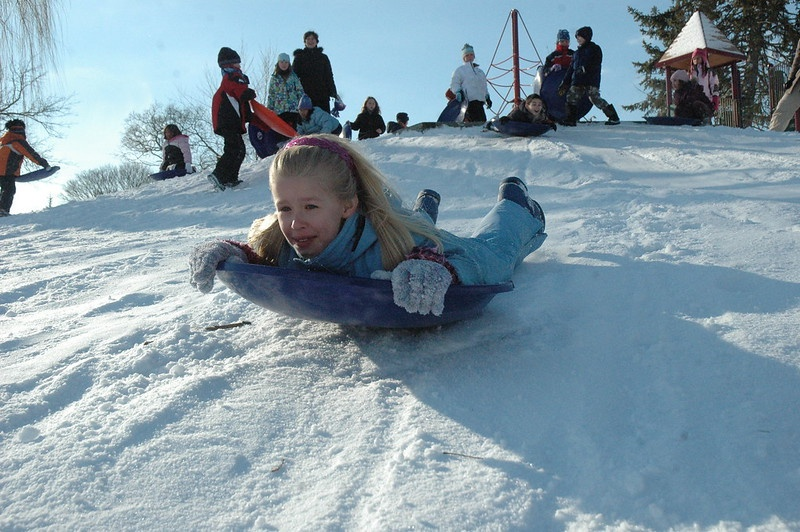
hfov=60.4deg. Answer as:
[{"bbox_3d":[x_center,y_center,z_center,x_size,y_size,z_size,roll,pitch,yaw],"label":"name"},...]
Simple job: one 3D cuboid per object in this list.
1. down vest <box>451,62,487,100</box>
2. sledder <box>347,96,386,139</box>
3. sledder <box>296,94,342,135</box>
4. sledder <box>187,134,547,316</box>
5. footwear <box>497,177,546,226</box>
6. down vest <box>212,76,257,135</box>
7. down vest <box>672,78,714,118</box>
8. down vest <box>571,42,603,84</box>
[{"bbox_3d":[1.000,-2.582,9.743,0.524,0.585,0.429,-9,18,-3],"label":"down vest"},{"bbox_3d":[-0.558,-2.410,11.177,0.543,0.641,0.597,-8,18,0],"label":"sledder"},{"bbox_3d":[-1.087,-1.963,8.979,0.559,0.555,0.512,-10,18,-7],"label":"sledder"},{"bbox_3d":[0.056,-0.068,3.633,1.061,0.548,1.465,2,3,31],"label":"sledder"},{"bbox_3d":[0.726,-0.413,4.221,0.195,0.367,0.144,-38,-7,-3],"label":"footwear"},{"bbox_3d":[-1.954,-1.879,8.020,0.530,0.708,0.246,-11,18,-10],"label":"down vest"},{"bbox_3d":[4.539,-2.572,10.644,0.373,0.577,0.681,-15,19,-20],"label":"down vest"},{"bbox_3d":[2.581,-2.726,9.323,0.300,0.616,0.618,-10,18,-6],"label":"down vest"}]
